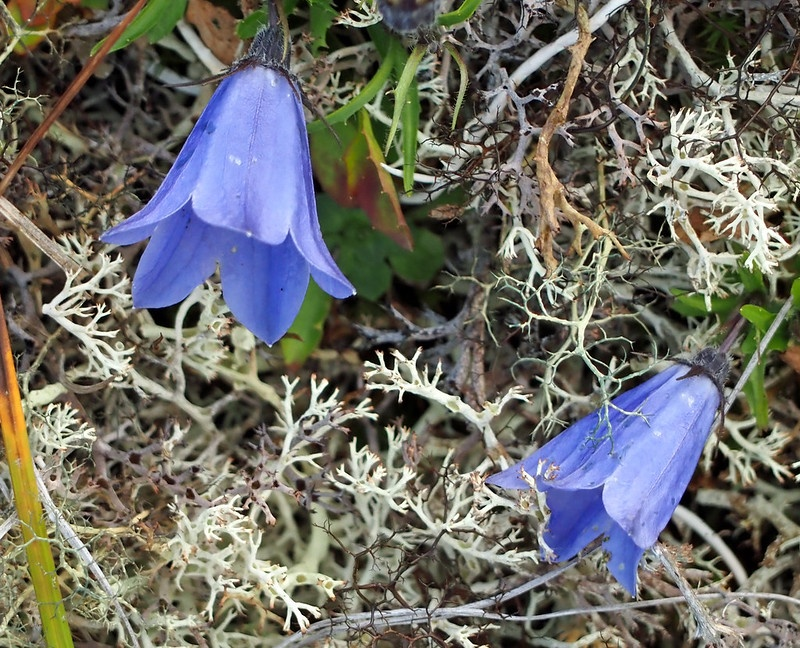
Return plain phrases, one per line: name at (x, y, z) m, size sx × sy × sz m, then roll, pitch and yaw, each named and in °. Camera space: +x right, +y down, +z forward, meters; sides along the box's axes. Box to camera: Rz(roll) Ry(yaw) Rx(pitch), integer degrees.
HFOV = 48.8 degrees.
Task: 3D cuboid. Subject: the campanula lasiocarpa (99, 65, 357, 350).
campanula lasiocarpa at (-0.169, -0.160, 1.046) m, size 0.271 × 0.128 × 0.352 m, roll 27°, pitch 73°, yaw -12°
